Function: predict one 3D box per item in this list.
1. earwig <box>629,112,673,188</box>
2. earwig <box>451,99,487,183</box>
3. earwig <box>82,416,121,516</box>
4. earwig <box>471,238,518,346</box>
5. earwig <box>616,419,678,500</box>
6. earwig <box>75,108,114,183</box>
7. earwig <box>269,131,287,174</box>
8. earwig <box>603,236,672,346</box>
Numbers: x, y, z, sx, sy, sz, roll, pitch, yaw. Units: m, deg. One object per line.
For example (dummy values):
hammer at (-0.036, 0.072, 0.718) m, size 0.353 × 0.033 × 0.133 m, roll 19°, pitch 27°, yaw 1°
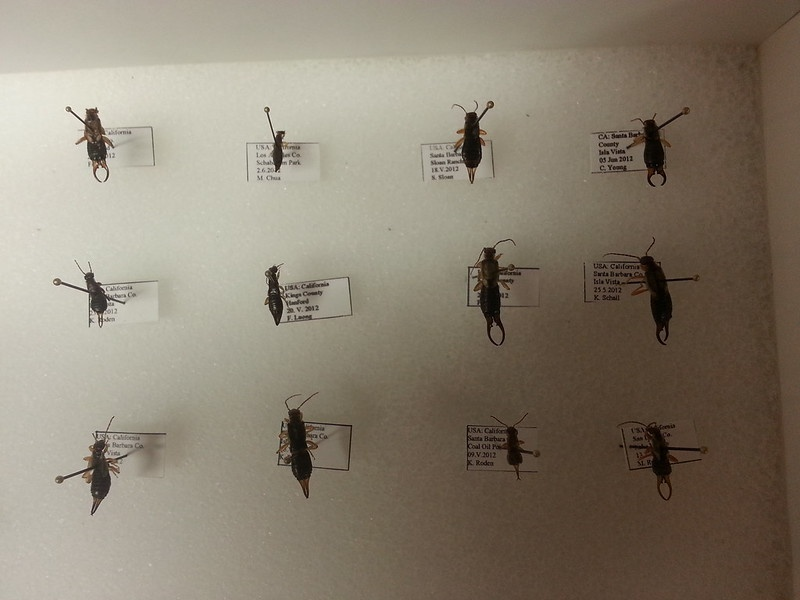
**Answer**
earwig at (1.364, -0.818, 4.953) m, size 0.215 × 0.383 × 0.157 m, roll 9°, pitch -16°, yaw -31°
earwig at (0.421, -0.877, 4.924) m, size 0.151 × 0.431 × 0.265 m, roll 13°, pitch -18°, yaw -41°
earwig at (-1.662, 0.927, 5.067) m, size 0.222 × 0.159 × 0.446 m, roll -10°, pitch 12°, yaw -18°
earwig at (0.511, -0.045, 4.952) m, size 0.208 × 0.571 × 0.182 m, roll 7°, pitch -15°, yaw -25°
earwig at (1.406, 0.789, 4.902) m, size 0.126 × 0.459 × 0.427 m, roll -10°, pitch 2°, yaw -35°
earwig at (-1.677, -0.888, 5.067) m, size 0.199 × 0.140 × 0.434 m, roll -9°, pitch -14°, yaw -20°
earwig at (-0.669, -0.821, 5.020) m, size 0.065 × 0.226 × 0.082 m, roll 4°, pitch -14°, yaw -11°
earwig at (1.317, -0.063, 4.912) m, size 0.376 × 0.566 × 0.170 m, roll 6°, pitch -14°, yaw -19°
